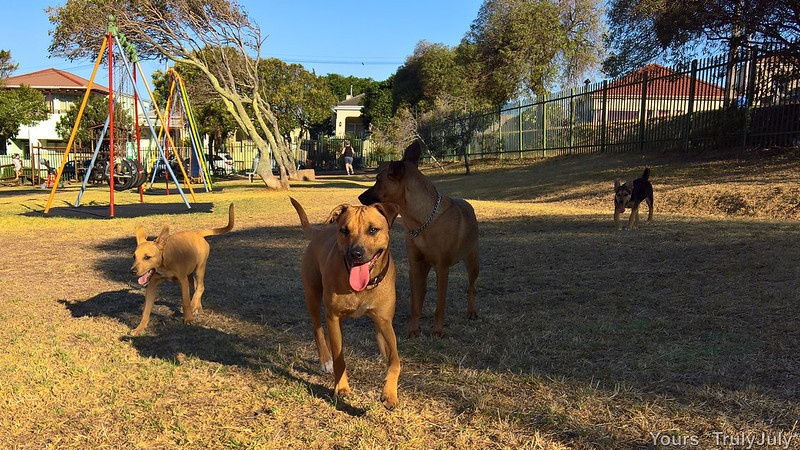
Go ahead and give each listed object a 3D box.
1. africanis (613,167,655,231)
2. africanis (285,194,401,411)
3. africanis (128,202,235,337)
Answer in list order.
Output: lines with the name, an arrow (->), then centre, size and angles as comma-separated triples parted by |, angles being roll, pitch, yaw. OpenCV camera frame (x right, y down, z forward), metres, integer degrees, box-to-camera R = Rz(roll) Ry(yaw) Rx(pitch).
africanis -> 6.060, -0.679, 15.503 | 0.592, 1.529, 2.516 | 2, 8, 38
africanis -> -0.742, 1.153, 8.958 | 1.685, 2.918, 0.719 | 4, 8, 29
africanis -> -4.084, 0.885, 10.622 | 1.581, 1.810, 0.933 | -5, 9, -39
